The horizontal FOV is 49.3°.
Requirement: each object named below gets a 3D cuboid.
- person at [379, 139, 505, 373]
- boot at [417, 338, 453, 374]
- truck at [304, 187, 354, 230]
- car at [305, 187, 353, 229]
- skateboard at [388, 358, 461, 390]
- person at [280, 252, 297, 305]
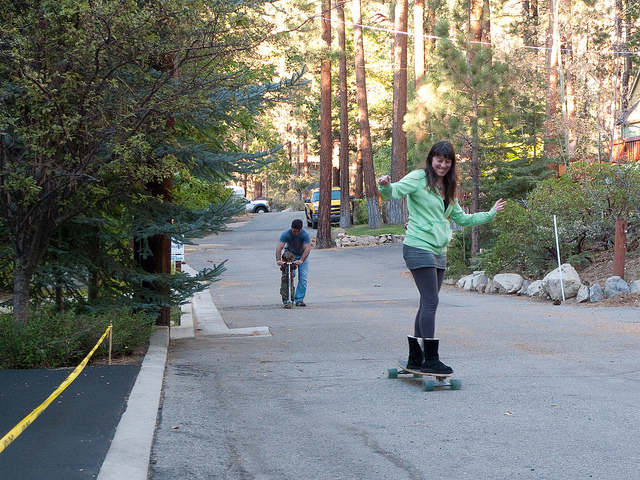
[{"bbox_3d":[1.218,0.160,7.650,0.559,2.489,1.457,3,5,45],"label":"person"},{"bbox_3d":[1.191,1.230,7.587,0.201,0.378,0.436,-3,4,-39],"label":"boot"},{"bbox_3d":[0.204,-2.204,45.367,2.049,1.591,3.657,0,-2,-10],"label":"truck"},{"bbox_3d":[0.262,-2.059,44.950,1.964,1.548,3.556,0,-2,-8],"label":"car"},{"bbox_3d":[1.100,1.480,7.663,0.277,0.147,0.670,-2,5,-33],"label":"skateboard"},{"bbox_3d":[-0.614,0.757,14.170,0.315,1.019,0.385,0,3,-2],"label":"person"}]
